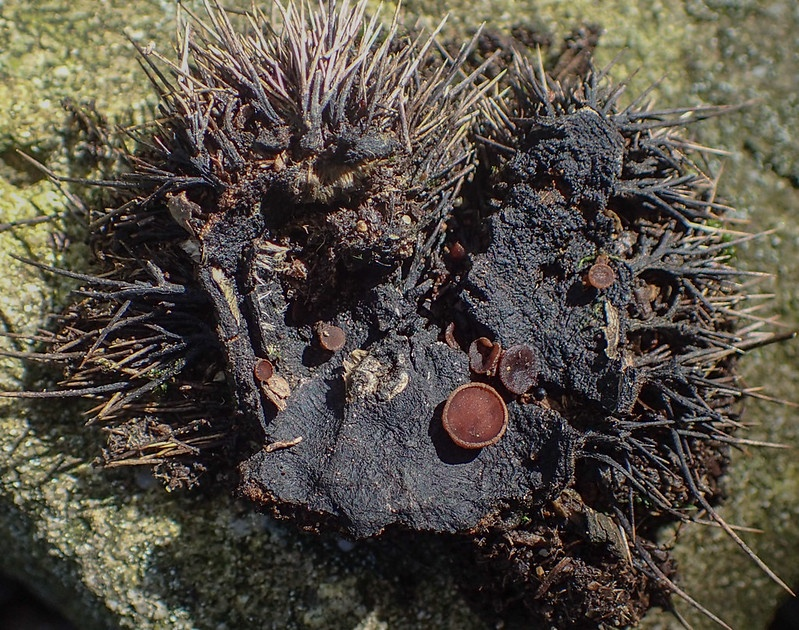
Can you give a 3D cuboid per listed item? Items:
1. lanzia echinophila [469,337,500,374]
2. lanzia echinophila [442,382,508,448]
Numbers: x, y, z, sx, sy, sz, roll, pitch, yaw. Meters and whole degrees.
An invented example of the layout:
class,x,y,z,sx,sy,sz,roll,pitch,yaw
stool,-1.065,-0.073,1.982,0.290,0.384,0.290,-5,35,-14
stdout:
class,x,y,z,sx,sy,sz,roll,pitch,yaw
lanzia echinophila,0.597,0.286,6.505,0.235,0.097,0.228,-18,73,24
lanzia echinophila,0.483,0.681,6.441,0.515,0.164,0.439,10,79,-25
